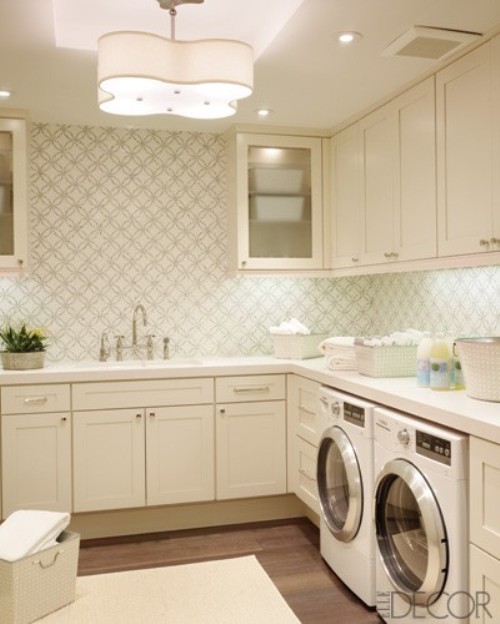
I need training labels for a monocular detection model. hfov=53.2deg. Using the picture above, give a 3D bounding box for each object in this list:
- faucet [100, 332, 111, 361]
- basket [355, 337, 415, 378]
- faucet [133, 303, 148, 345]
[{"bbox_3d":[-0.922,0.223,3.168,0.052,0.179,0.116,-1,-1,-3],"label":"faucet"},{"bbox_3d":[0.660,0.215,2.381,0.191,0.125,0.198,0,1,-9],"label":"basket"},{"bbox_3d":[-0.708,0.082,3.209,0.098,0.261,0.217,0,-1,-10],"label":"faucet"}]
